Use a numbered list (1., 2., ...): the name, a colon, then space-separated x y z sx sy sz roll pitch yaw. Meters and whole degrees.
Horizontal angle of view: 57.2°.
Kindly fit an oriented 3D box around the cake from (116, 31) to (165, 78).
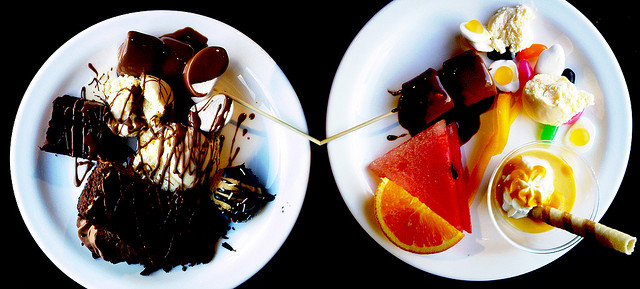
1. cake: -1.751 -0.865 5.740 0.402 0.172 0.460 36 91 -8

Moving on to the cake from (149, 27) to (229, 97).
1. cake: -1.264 -0.811 5.629 0.677 0.148 0.571 31 78 6

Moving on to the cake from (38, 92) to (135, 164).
1. cake: -2.202 -0.138 5.640 0.835 0.194 0.564 11 77 2
